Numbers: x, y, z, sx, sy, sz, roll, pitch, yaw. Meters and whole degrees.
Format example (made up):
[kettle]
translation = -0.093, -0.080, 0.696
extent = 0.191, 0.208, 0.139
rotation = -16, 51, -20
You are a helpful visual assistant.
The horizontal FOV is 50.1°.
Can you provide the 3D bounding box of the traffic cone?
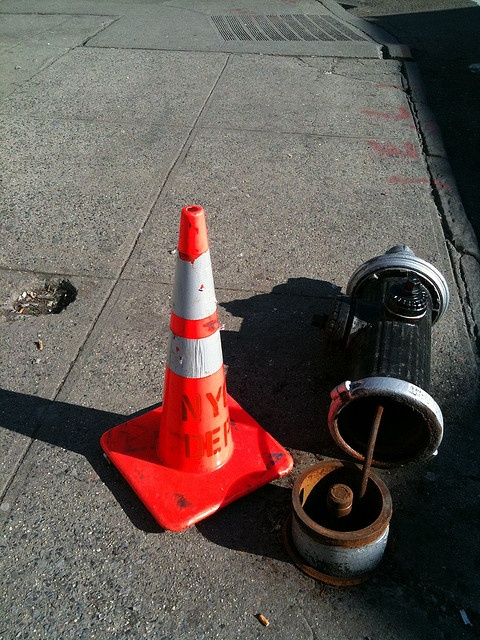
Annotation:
[traffic cone]
translation = -0.169, 0.099, 2.040
extent = 0.728, 1.010, 0.769
rotation = 19, 29, 33
